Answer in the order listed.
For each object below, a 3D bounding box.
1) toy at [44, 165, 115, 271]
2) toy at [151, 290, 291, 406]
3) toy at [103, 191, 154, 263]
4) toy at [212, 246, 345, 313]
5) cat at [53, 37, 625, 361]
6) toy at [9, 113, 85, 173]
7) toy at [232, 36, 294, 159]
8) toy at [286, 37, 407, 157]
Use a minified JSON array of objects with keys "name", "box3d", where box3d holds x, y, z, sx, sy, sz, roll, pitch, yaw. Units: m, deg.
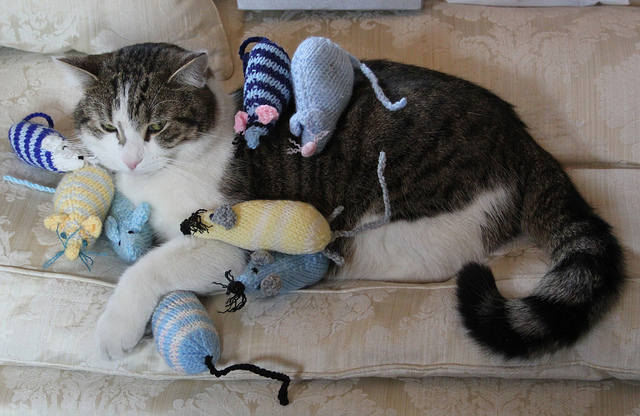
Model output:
[{"name":"toy","box3d":[-0.789,0.018,2.352,0.209,0.148,0.410,-1,53,-8]},{"name":"toy","box3d":[-0.335,0.461,2.286,0.457,0.191,0.244,29,55,12]},{"name":"toy","box3d":[-0.624,0.068,2.399,0.152,0.168,0.221,-8,26,3]},{"name":"toy","box3d":[-0.114,0.198,2.341,0.427,0.174,0.163,-13,86,-4]},{"name":"cat","box3d":[0.076,0.103,2.401,1.381,0.677,1.076,-7,38,2]},{"name":"toy","box3d":[-0.905,-0.190,2.428,0.231,0.084,0.155,30,73,18]},{"name":"toy","box3d":[-0.190,-0.327,2.326,0.191,0.124,0.402,2,81,5]},{"name":"toy","box3d":[0.060,-0.352,2.364,0.356,0.348,0.229,-10,42,-25]}]
